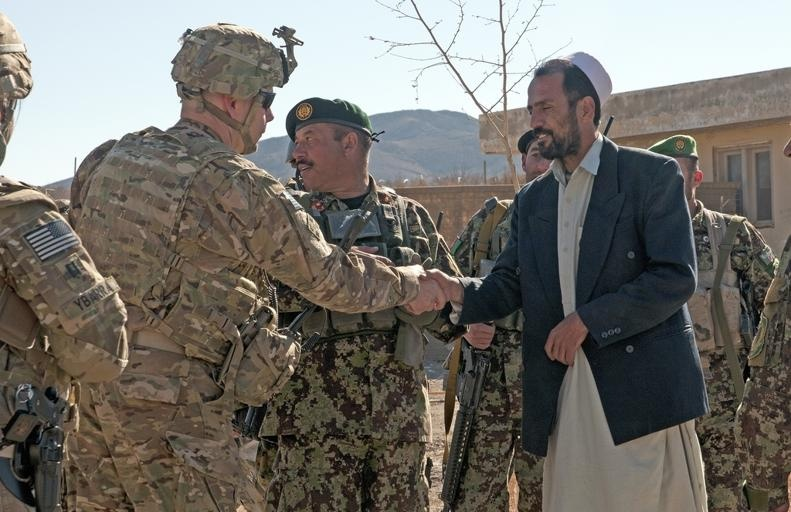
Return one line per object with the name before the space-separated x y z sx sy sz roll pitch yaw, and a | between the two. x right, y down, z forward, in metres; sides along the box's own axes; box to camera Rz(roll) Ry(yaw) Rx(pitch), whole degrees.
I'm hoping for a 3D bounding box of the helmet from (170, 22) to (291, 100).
helmet | -0.950 -1.131 4.475 0.689 0.412 0.500 7 8 -39
